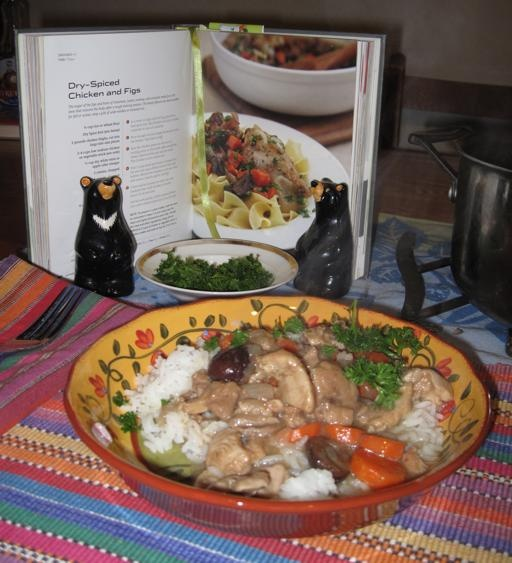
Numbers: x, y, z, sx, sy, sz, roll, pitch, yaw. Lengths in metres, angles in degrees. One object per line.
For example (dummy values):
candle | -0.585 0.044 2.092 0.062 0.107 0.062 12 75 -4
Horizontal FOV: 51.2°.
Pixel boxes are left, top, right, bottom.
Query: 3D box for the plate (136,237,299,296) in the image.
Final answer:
plate | -0.086 -0.028 1.049 0.289 0.060 0.282 13 -17 -34

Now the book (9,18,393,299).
book | -0.086 -0.273 1.044 0.689 0.393 0.284 6 18 25
